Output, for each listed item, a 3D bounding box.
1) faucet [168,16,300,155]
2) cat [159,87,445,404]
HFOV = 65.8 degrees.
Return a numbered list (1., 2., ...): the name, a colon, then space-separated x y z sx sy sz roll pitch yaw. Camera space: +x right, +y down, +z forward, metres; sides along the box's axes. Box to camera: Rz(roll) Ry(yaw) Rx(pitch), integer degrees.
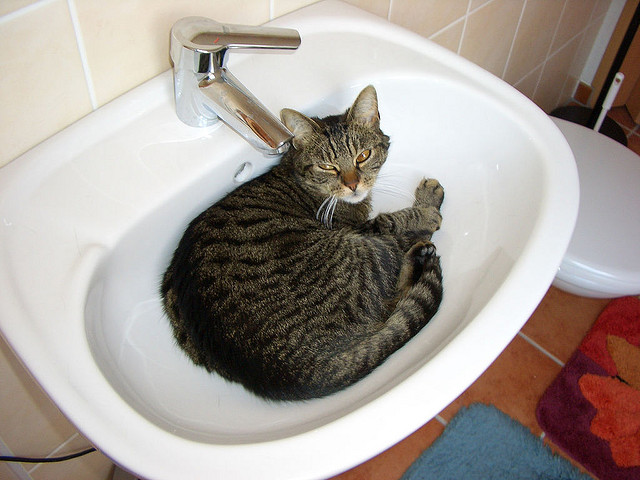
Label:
1. faucet: -0.129 -0.219 0.705 0.188 0.157 0.068 23 32 8
2. cat: -0.016 -0.069 0.886 0.524 0.219 0.685 2 43 22
